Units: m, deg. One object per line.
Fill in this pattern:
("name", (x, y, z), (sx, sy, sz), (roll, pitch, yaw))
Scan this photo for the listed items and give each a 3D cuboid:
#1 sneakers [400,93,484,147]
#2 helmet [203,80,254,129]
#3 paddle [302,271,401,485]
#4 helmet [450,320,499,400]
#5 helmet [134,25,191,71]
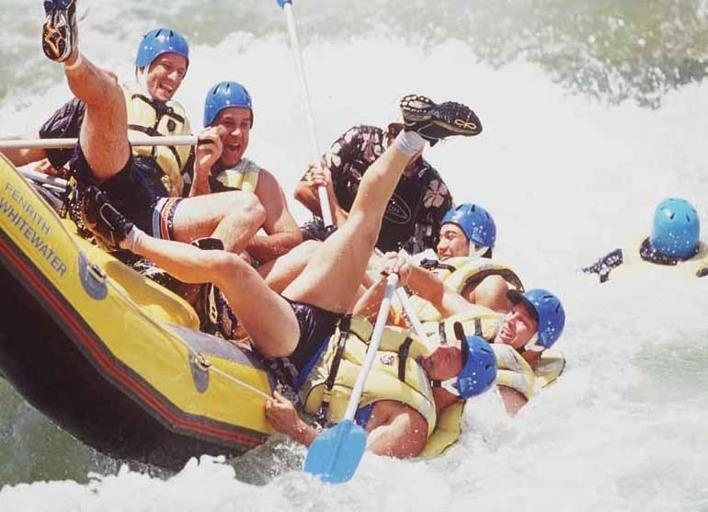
("sneakers", (0.648, -1.001, 6.566), (0.672, 0.300, 0.269), (18, 57, 17))
("helmet", (-1.123, -1.353, 7.886), (0.332, 0.450, 0.369), (10, 40, -19))
("paddle", (0.049, 0.871, 6.011), (0.386, 1.879, 0.082), (6, 31, -23))
("helmet", (0.910, 0.793, 6.663), (0.266, 0.516, 0.295), (-4, -6, 9))
("helmet", (-1.750, -1.949, 8.072), (0.343, 0.466, 0.366), (17, 51, -22))
